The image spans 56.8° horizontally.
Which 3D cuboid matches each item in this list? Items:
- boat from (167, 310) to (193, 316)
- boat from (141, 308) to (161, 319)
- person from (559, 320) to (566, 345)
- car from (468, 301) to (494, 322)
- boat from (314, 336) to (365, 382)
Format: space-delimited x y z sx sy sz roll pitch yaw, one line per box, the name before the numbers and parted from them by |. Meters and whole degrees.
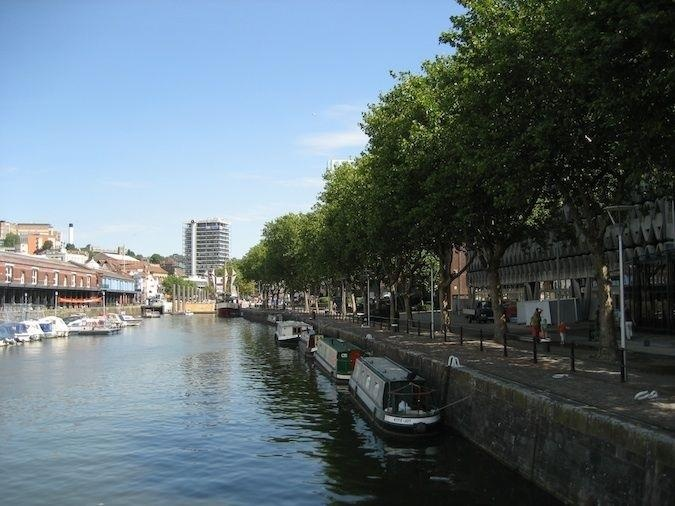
boat | -38.797 14.902 155.854 4.375 0.878 11.197 0 -2 -29
boat | -44.628 13.964 148.784 3.970 1.959 23.315 0 -2 -17
person | 13.980 4.858 38.545 0.203 1.447 0.755 -1 0 11
car | 15.225 6.231 65.924 1.876 1.592 3.007 2 -10 -17
boat | 0.222 7.455 44.170 1.924 2.379 8.668 2 -5 -9
